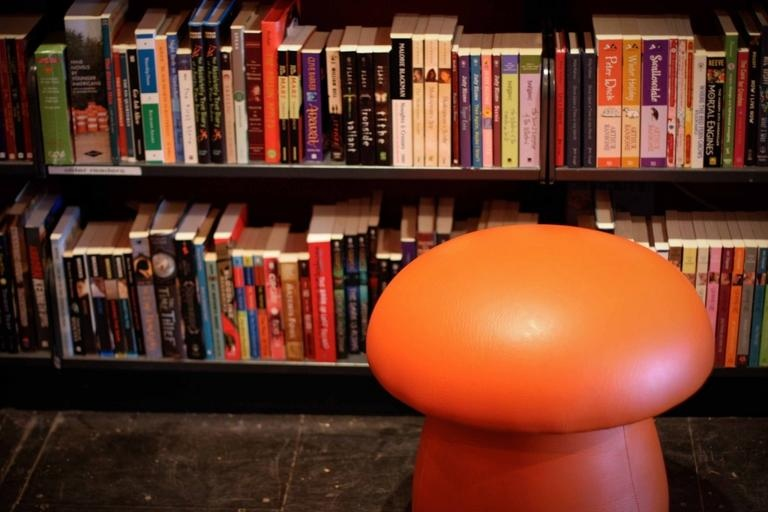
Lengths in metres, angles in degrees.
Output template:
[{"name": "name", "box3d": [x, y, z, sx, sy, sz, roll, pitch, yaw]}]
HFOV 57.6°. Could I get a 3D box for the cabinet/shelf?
[{"name": "cabinet/shelf", "box3d": [-0.010, -0.230, 2.163, 1.361, 0.722, 0.497, 1, 45, 5]}]
